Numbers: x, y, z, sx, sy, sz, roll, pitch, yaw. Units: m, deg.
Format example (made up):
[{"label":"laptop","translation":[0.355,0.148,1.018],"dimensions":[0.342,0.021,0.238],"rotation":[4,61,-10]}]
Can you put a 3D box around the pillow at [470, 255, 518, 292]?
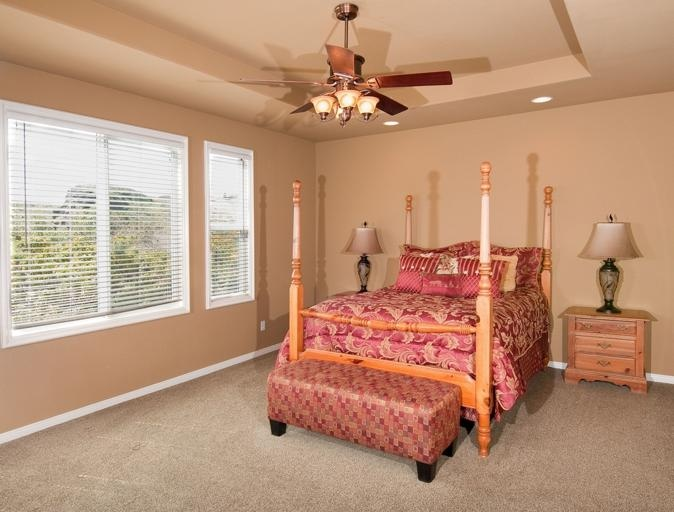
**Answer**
[{"label":"pillow","translation":[1.748,0.205,5.340],"dimensions":[0.358,0.328,0.147],"rotation":[14,-19,-20]}]

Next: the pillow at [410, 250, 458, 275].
[{"label":"pillow","translation":[1.158,0.072,5.413],"dimensions":[0.273,0.085,0.300],"rotation":[-16,15,12]}]

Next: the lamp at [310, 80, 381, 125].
[{"label":"lamp","translation":[0.092,-1.211,4.044],"dimensions":[0.391,0.172,0.347],"rotation":[0,11,16]}]

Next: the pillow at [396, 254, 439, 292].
[{"label":"pillow","translation":[0.856,0.183,5.500],"dimensions":[0.124,0.409,0.462],"rotation":[34,-17,-33]}]

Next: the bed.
[{"label":"bed","translation":[1.168,0.436,5.454],"dimensions":[2.126,2.028,3.136],"rotation":[2,3,31]}]

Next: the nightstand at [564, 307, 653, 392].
[{"label":"nightstand","translation":[2.788,0.932,5.141],"dimensions":[0.770,0.698,0.499],"rotation":[0,2,36]}]

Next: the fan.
[{"label":"fan","translation":[0.012,-1.642,4.590],"dimensions":[0.847,0.283,0.855],"rotation":[5,4,39]}]

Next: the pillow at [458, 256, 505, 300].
[{"label":"pillow","translation":[1.431,0.203,5.036],"dimensions":[0.436,0.129,0.403],"rotation":[-3,43,20]}]
